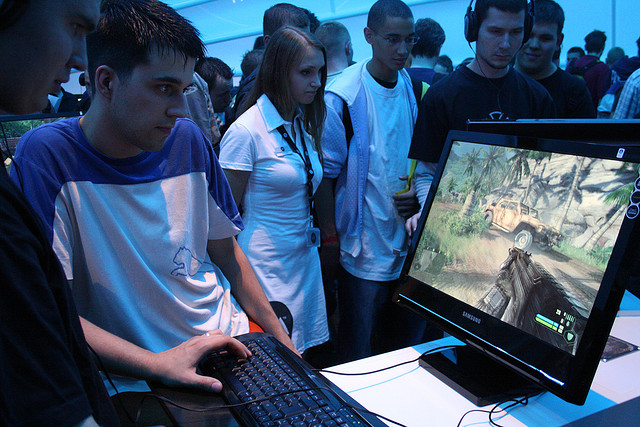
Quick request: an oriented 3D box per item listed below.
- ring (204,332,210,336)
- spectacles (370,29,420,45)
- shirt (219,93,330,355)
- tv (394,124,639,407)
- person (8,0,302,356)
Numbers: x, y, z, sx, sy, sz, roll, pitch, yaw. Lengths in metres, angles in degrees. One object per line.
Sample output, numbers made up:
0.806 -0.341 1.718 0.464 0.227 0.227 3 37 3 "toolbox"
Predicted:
-0.370 0.394 1.462 0.017 0.004 0.017 23 34 -16 "ring"
0.467 -1.022 2.633 0.258 0.070 0.103 0 15 -18 "spectacles"
-0.222 0.102 2.337 0.498 1.358 0.648 2 11 16 "shirt"
0.562 0.091 1.359 0.222 0.650 0.624 -9 20 -42 "tv"
-0.720 -0.195 2.094 1.109 1.664 1.128 5 15 12 "person"
